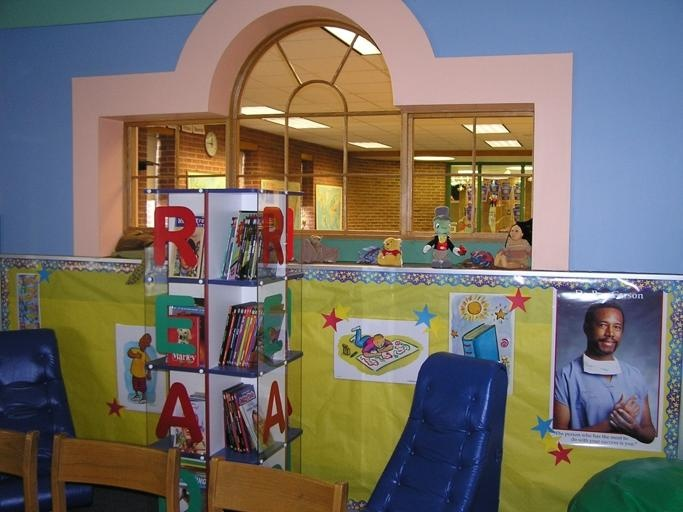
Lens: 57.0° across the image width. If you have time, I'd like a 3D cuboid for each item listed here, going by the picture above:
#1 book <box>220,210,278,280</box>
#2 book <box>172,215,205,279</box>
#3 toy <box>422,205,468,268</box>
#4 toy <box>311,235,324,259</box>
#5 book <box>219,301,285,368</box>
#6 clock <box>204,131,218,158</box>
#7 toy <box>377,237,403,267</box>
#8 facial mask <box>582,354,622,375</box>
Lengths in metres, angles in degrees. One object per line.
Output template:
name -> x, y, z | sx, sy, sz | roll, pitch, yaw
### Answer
book -> -0.546, -0.083, 3.882 | 0.363, 0.444, 0.195 | 1, 2, -11
book -> -0.959, -0.063, 3.913 | 0.250, 0.384, 0.023 | 1, 2, 18
toy -> 0.768, -0.149, 4.612 | 0.331, 0.433, 0.343 | 1, 2, 5
toy -> -0.180, -0.102, 4.882 | 0.073, 0.133, 0.101 | -3, -4, 24
book -> -0.564, 0.486, 3.924 | 0.243, 0.461, 0.352 | 9, -2, 22
clock -> -1.353, -1.187, 6.566 | 0.038, 0.289, 0.297 | -5, -8, 14
toy -> 0.369, -0.044, 4.690 | 0.183, 0.206, 0.273 | 1, 2, 6
facial mask -> 1.746, 0.732, 4.229 | 0.187, 0.095, 0.141 | 5, 5, 34
